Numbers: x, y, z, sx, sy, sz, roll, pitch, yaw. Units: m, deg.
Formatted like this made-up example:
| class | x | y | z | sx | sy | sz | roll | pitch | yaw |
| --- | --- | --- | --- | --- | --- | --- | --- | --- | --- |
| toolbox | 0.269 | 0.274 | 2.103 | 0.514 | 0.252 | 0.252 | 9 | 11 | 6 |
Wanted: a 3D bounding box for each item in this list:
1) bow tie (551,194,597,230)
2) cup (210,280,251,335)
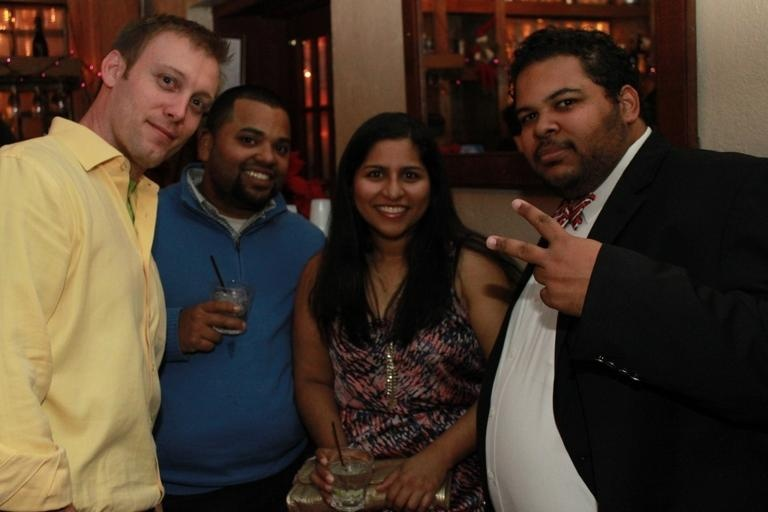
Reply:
| class | x | y | z | sx | sy | sz | roll | pitch | yaw |
| --- | --- | --- | --- | --- | --- | --- | --- | --- | --- |
| bow tie | 0.665 | -0.147 | 2.448 | 0.048 | 0.107 | 0.135 | -25 | 5 | -26 |
| cup | -0.599 | 0.197 | 2.834 | 0.170 | 0.224 | 0.188 | -2 | 12 | -21 |
